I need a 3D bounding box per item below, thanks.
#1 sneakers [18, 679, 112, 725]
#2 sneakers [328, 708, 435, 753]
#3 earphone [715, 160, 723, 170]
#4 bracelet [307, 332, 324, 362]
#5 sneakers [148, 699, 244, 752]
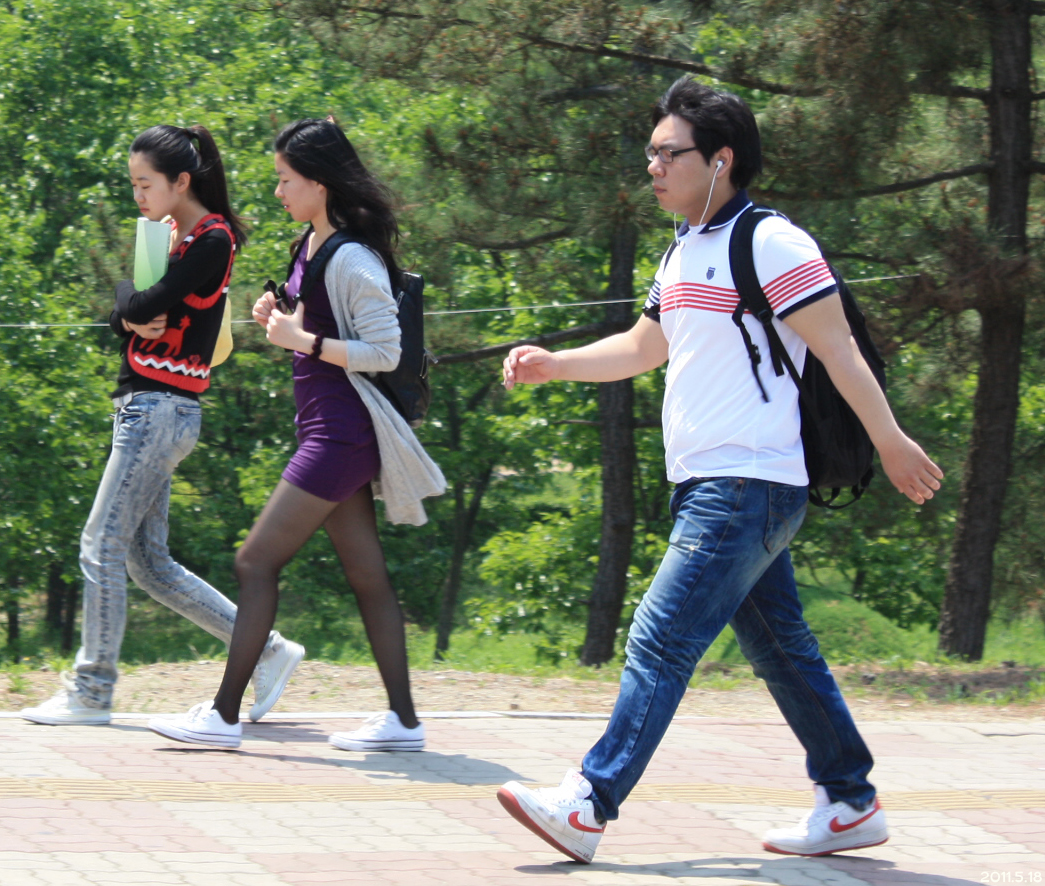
[{"bbox_3d":[-2.087,1.207,8.640,0.482,0.149,0.149,3,-12,-3],"label":"sneakers"},{"bbox_3d":[-0.648,1.322,8.540,0.489,0.164,0.159,2,-9,-6],"label":"sneakers"},{"bbox_3d":[0.774,-1.100,7.435,0.033,0.035,0.040,-16,2,15],"label":"earphone"},{"bbox_3d":[-0.907,-0.427,8.302,0.087,0.103,0.102,14,5,-9],"label":"bracelet"},{"bbox_3d":[-1.422,1.251,8.362,0.457,0.165,0.159,8,-14,-1],"label":"sneakers"}]
